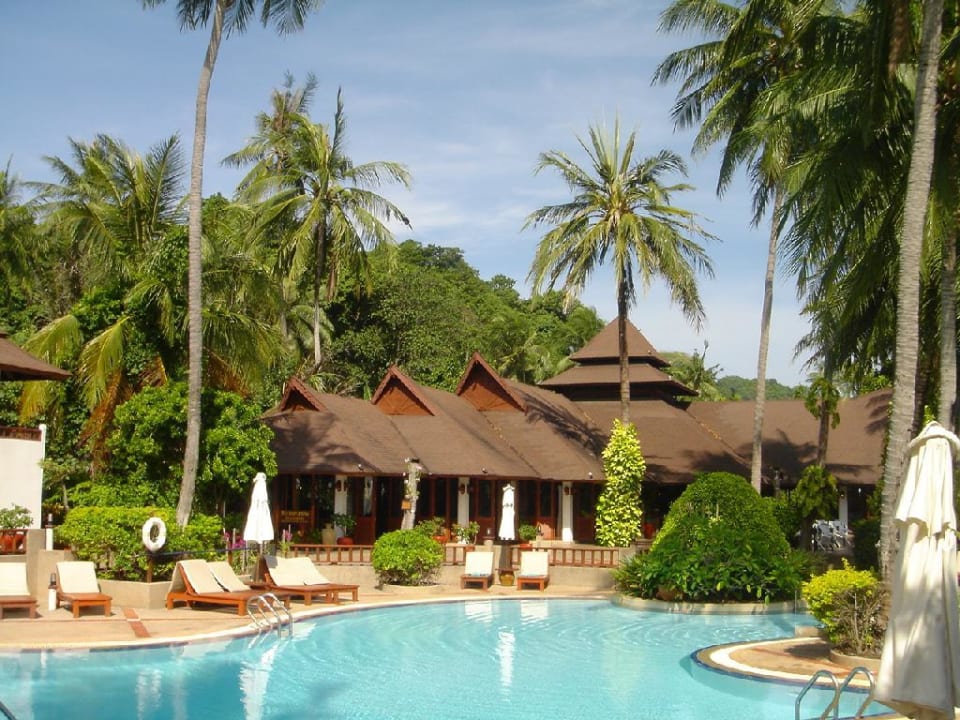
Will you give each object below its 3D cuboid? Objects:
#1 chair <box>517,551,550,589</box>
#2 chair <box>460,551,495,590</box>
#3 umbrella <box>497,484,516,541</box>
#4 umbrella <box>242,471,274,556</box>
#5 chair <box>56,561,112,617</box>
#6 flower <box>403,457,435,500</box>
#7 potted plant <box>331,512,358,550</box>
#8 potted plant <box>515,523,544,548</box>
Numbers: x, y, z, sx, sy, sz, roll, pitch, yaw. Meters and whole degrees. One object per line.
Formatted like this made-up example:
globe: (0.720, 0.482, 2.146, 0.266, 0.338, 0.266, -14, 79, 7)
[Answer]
chair: (1.836, 7.116, 36.868, 0.808, 1.256, 1.267, 0, -10, 6)
chair: (-0.080, 7.018, 36.380, 0.991, 1.216, 1.010, -2, -9, 7)
umbrella: (0.983, 5.459, 39.141, 0.528, 2.032, 1.430, -1, -9, 6)
umbrella: (-6.481, 4.243, 31.745, 0.806, 2.073, 1.666, 1, -9, -12)
chair: (-10.358, 5.909, 28.218, 1.190, 1.409, 2.146, 6, -12, -34)
flower: (-2.378, 4.511, 41.888, 0.957, 1.982, 1.036, -13, -51, 11)
potted plant: (-5.218, 6.474, 41.545, 1.073, 1.591, 1.095, 1, -14, -5)
potted plant: (2.126, 7.204, 44.763, 0.709, 0.881, 0.648, 4, -6, -31)
